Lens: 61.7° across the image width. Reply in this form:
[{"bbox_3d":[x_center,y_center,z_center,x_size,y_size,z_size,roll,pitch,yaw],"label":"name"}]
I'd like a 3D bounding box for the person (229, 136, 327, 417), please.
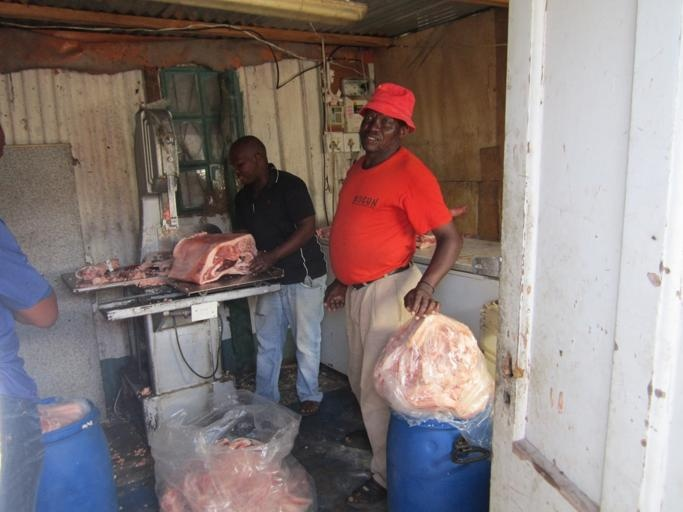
[{"bbox_3d":[-0.445,0.165,4.201,0.667,2.064,0.529,-2,6,-4],"label":"person"}]

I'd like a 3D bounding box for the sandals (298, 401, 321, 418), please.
[{"bbox_3d":[-0.239,1.163,4.329,0.174,0.152,0.372,-4,-14,10],"label":"sandals"}]

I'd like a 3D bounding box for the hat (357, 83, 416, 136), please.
[{"bbox_3d":[0.277,-0.865,3.209,0.322,0.187,0.295,14,8,20],"label":"hat"}]

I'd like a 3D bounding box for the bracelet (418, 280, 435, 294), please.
[{"bbox_3d":[0.428,0.156,2.861,0.042,0.062,0.060,-20,-27,30],"label":"bracelet"}]
